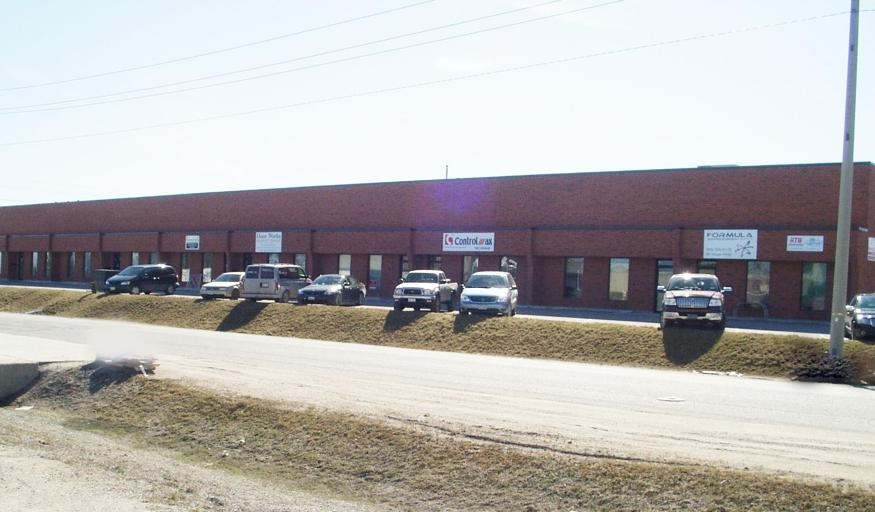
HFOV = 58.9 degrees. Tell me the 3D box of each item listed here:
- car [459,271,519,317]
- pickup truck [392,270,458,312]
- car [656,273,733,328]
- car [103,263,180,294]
[{"bbox_3d":[2.595,2.007,40.968,2.901,2.305,2.331,1,-3,1],"label":"car"},{"bbox_3d":[-0.781,1.648,44.238,2.843,1.659,4.886,4,10,12],"label":"pickup truck"},{"bbox_3d":[11.976,2.163,36.696,2.760,2.456,1.630,0,-3,14],"label":"car"},{"bbox_3d":[-19.979,1.559,52.480,1.500,2.018,4.739,0,-3,24],"label":"car"}]
